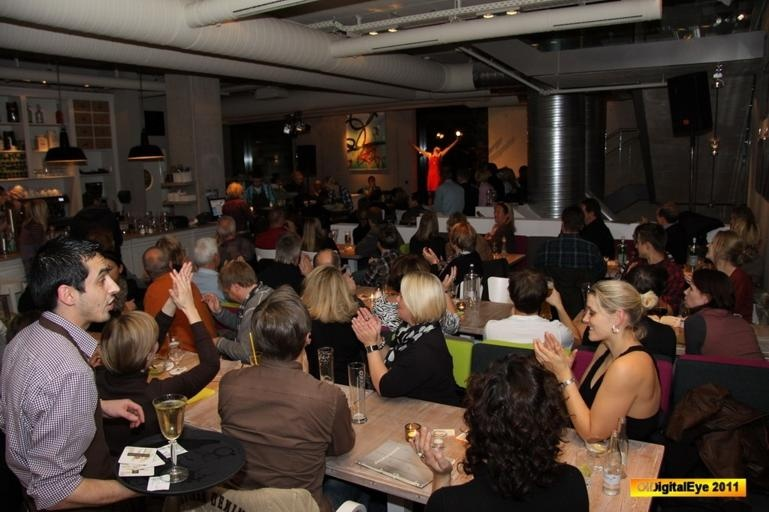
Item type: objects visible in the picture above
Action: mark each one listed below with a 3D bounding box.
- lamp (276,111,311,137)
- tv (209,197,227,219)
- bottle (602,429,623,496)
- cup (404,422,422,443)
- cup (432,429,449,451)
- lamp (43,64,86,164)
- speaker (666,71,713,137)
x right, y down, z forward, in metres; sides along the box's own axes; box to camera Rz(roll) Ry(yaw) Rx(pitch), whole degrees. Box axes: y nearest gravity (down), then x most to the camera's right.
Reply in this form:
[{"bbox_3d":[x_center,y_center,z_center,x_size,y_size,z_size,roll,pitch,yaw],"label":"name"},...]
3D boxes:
[{"bbox_3d":[-2.286,-3.422,13.385,0.567,0.497,1.088,-5,8,-13],"label":"lamp"},{"bbox_3d":[-3.046,-0.873,9.486,0.107,0.374,0.420,5,16,42],"label":"tv"},{"bbox_3d":[1.107,0.998,2.552,0.090,0.279,0.171,0,9,25],"label":"bottle"},{"bbox_3d":[0.151,0.964,2.908,0.095,0.078,0.179,-3,7,2],"label":"cup"},{"bbox_3d":[0.296,0.987,2.801,0.077,0.082,0.084,1,-7,0],"label":"cup"},{"bbox_3d":[-4.922,-2.030,7.986,0.573,1.171,0.498,-5,6,-17],"label":"lamp"},{"bbox_3d":[4.451,-2.232,7.675,0.560,0.919,0.304,1,9,27],"label":"speaker"}]
